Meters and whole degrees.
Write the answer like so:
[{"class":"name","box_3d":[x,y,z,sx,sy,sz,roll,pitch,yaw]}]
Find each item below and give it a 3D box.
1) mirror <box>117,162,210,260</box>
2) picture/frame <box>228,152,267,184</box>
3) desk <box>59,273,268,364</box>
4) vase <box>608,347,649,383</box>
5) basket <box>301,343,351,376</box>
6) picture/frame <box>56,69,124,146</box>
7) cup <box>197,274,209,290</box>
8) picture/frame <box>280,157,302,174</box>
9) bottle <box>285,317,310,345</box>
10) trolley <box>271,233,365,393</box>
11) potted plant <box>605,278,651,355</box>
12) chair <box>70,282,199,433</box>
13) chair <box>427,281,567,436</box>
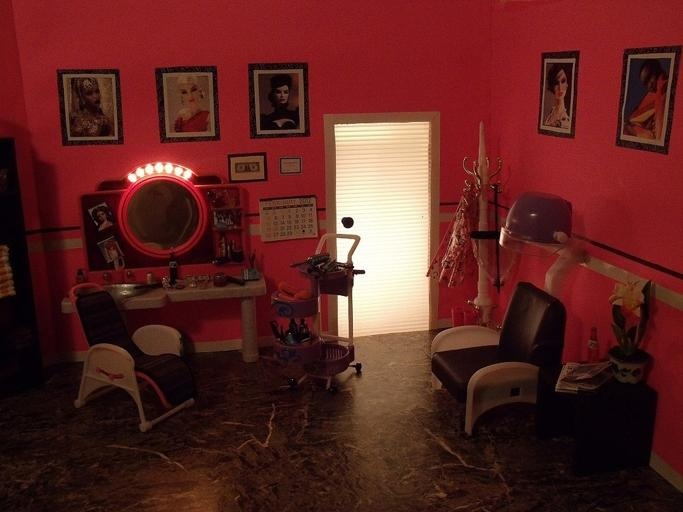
[{"class":"mirror","box_3d":[-2.116,-0.567,6.351,1.046,1.296,0.181,1,9,-10]},{"class":"picture/frame","box_3d":[-1.136,-1.071,6.496,0.359,0.289,0.014,-1,9,-11]},{"class":"desk","box_3d":[-1.964,0.869,6.338,2.144,1.033,0.836,-4,6,-17]},{"class":"vase","box_3d":[2.416,0.899,4.581,0.277,0.220,0.285,1,13,16]},{"class":"basket","box_3d":[-0.173,1.096,5.795,0.359,0.144,0.475,-1,6,5]},{"class":"picture/frame","box_3d":[-2.848,-1.713,6.123,0.761,0.987,0.062,-2,11,-12]},{"class":"cup","box_3d":[-1.621,0.306,6.364,0.104,0.065,0.178,1,11,-4]},{"class":"picture/frame","box_3d":[-0.611,-1.090,6.586,0.262,0.210,0.040,-3,16,-4]},{"class":"bottle","box_3d":[-0.436,0.783,5.682,0.275,0.287,0.175,-1,9,7]},{"class":"trolley","box_3d":[-0.267,0.555,6.091,0.970,1.580,1.332,-3,16,-4]},{"class":"potted plant","box_3d":[2.431,0.526,4.610,0.306,0.701,0.455,9,19,33]},{"class":"chair","box_3d":[-2.218,0.985,5.688,1.291,1.258,0.782,6,10,17]},{"class":"chair","box_3d":[1.551,0.957,5.403,1.408,1.599,1.176,-3,16,-11]}]
